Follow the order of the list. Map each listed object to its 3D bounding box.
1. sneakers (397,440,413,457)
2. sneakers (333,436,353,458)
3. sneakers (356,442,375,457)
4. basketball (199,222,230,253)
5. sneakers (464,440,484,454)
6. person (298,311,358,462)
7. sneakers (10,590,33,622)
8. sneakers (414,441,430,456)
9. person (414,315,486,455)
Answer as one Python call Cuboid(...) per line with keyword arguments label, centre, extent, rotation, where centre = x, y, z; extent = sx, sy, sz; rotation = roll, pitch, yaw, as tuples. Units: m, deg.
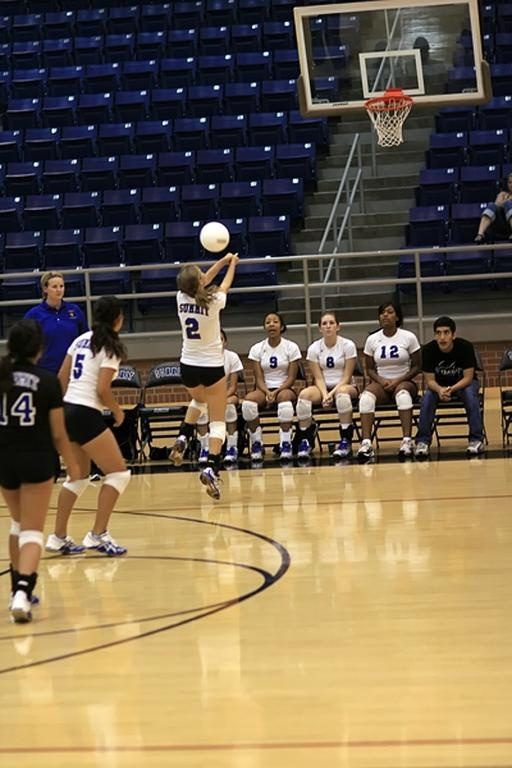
Cuboid(label="sneakers", centre=(1.384, 0.586, 7.356), extent=(0.128, 0.174, 0.228), rotation=(-5, 4, 11))
Cuboid(label="sneakers", centre=(0.804, 0.608, 7.508), extent=(0.130, 0.182, 0.369), rotation=(-3, 5, 24))
Cuboid(label="sneakers", centre=(1.014, 0.615, 7.367), extent=(0.139, 0.182, 0.376), rotation=(-1, -5, 7))
Cuboid(label="basketball", centre=(-0.331, -1.147, 6.147), extent=(0.197, 0.217, 0.256), rotation=(-6, 4, -6))
Cuboid(label="sneakers", centre=(1.977, 0.573, 7.176), extent=(0.114, 0.132, 0.338), rotation=(-1, -5, 17))
Cuboid(label="person", centre=(0.665, 0.017, 7.706), extent=(0.631, 1.395, 0.803), rotation=(-5, 5, 9))
Cuboid(label="sneakers", centre=(-0.895, 0.854, 3.047), extent=(0.057, 0.151, 0.069), rotation=(1, 49, -5))
Cuboid(label="sneakers", centre=(1.501, 0.605, 7.207), extent=(0.126, 0.144, 0.150), rotation=(-4, 5, 14))
Cuboid(label="person", centre=(1.760, 0.007, 7.380), extent=(0.617, 1.256, 0.724), rotation=(-4, 5, 15))
